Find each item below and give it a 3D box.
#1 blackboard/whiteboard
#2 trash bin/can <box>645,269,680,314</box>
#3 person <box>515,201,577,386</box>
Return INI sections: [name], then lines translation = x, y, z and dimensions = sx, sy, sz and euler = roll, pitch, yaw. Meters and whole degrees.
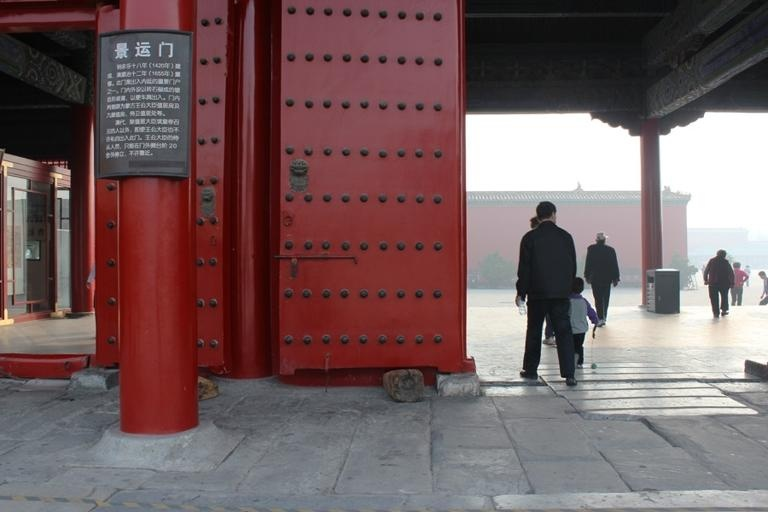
[blackboard/whiteboard]
translation = -1.851, -1.169, 5.518
dimensions = 0.715, 1.116, 0.268
euler = 1, 10, 3
[trash bin/can]
translation = 5.211, 0.670, 13.456
dimensions = 0.450, 0.771, 0.790
euler = 2, -3, 7
[person]
translation = 1.697, 0.360, 7.325
dimensions = 0.711, 1.779, 0.585
euler = 6, 11, 30
